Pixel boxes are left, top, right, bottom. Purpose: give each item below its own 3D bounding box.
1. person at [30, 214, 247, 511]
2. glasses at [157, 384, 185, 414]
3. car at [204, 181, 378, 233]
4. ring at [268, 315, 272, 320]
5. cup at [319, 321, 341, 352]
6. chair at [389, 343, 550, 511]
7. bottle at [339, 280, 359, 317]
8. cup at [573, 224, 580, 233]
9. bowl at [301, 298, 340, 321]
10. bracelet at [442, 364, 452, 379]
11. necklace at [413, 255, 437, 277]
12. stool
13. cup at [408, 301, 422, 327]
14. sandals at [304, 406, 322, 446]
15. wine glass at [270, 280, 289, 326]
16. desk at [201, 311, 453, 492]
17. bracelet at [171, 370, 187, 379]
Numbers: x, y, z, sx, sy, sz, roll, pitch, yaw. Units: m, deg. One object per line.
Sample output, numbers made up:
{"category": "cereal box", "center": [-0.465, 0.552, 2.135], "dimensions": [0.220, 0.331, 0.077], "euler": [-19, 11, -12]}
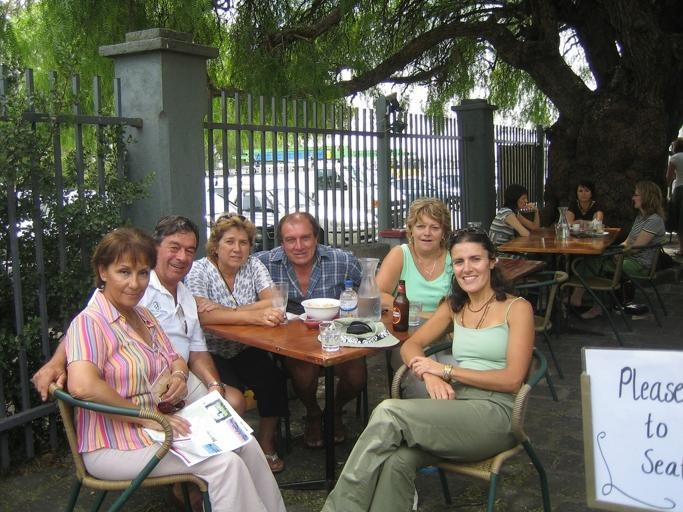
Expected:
{"category": "person", "center": [-1.097, 0.794, 3.546], "dimensions": [1.001, 1.855, 1.023], "euler": [-9, 8, -16]}
{"category": "glasses", "center": [-0.979, 0.825, 3.528], "dimensions": [0.144, 0.166, 0.089], "euler": [-6, 13, -39]}
{"category": "car", "center": [-0.736, -0.604, 7.907], "dimensions": [1.907, 0.827, 1.035], "euler": [1, 10, 20]}
{"category": "ring", "center": [-0.487, 0.420, 4.163], "dimensions": [0.019, 0.021, 0.020], "euler": [0, -6, 0]}
{"category": "cup", "center": [-0.066, 0.495, 3.776], "dimensions": [0.129, 0.168, 0.151], "euler": [0, -3, -2]}
{"category": "chair", "center": [0.810, 1.121, 3.735], "dimensions": [0.855, 1.069, 1.079], "euler": [-3, 5, 13]}
{"category": "bottle", "center": [0.052, 0.317, 4.317], "dimensions": [0.109, 0.321, 0.117], "euler": [-1, 23, 0]}
{"category": "cup", "center": [3.273, -0.379, 8.532], "dimensions": [0.106, 0.121, 0.108], "euler": [-1, 7, 0]}
{"category": "bowl", "center": [-0.141, 0.363, 4.180], "dimensions": [0.156, 0.076, 0.167], "euler": [-2, 6, 0]}
{"category": "bracelet", "center": [0.636, 0.691, 3.659], "dimensions": [0.066, 0.078, 0.057], "euler": [-3, 7, 24]}
{"category": "necklace", "center": [0.646, 0.083, 4.731], "dimensions": [0.106, 0.173, 0.057], "euler": [-7, -8, 3]}
{"category": "stool", "center": [-0.154, 1.081, 4.757], "dimensions": [0.619, 0.693, 0.653], "euler": [6, 10, 35]}
{"category": "cup", "center": [0.522, 0.400, 4.230], "dimensions": [0.122, 0.159, 0.128], "euler": [-2, 3, 0]}
{"category": "sandals", "center": [-0.213, 1.314, 4.719], "dimensions": [0.093, 0.147, 0.327], "euler": [-2, 17, -1]}
{"category": "wine glass", "center": [-0.425, 0.316, 4.259], "dimensions": [0.129, 0.327, 0.127], "euler": [11, 23, 20]}
{"category": "desk", "center": [-0.197, 0.934, 4.117], "dimensions": [1.166, 0.987, 1.163], "euler": [4, 8, 41]}
{"category": "bracelet", "center": [-0.948, 0.690, 3.617], "dimensions": [0.049, 0.043, 0.052], "euler": [5, 1, 33]}
